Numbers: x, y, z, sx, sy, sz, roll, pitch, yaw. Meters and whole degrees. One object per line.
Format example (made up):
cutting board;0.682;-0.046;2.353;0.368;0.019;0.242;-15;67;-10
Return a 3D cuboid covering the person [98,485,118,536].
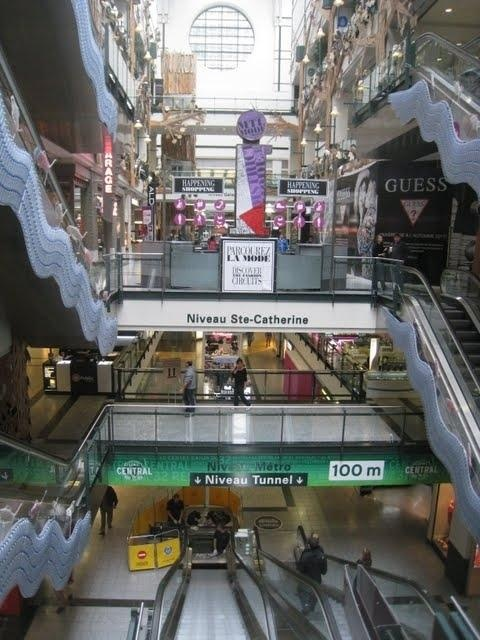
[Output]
person;-2.969;4.189;10.501;0.342;1.221;0.619;0;5;-18

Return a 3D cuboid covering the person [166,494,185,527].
person;-1.452;4.203;10.526;0.363;0.833;0.465;1;4;-8

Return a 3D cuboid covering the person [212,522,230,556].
person;-0.362;4.313;9.152;0.299;0.421;0.818;2;5;-2

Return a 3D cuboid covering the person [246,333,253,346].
person;0.531;1.141;27.940;0.356;0.695;1.345;2;5;-1

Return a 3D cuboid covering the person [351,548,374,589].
person;2.095;4.333;8.004;0.238;0.989;0.252;-1;12;5

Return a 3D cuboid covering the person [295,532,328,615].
person;1.070;3.863;7.200;0.376;1.410;0.368;0;15;-11
